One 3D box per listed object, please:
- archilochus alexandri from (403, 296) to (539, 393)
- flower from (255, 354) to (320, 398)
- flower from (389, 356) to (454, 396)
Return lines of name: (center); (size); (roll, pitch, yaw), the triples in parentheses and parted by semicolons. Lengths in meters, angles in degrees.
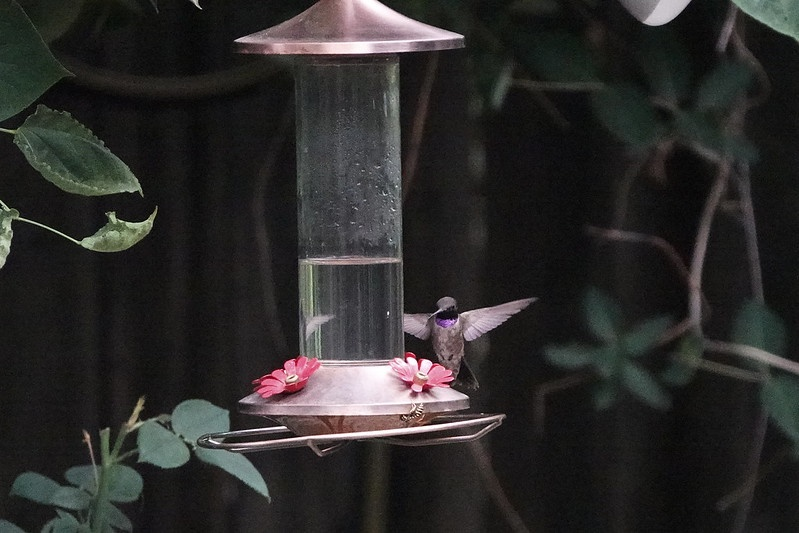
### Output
archilochus alexandri: (0.115, 0.187, 3.187); (0.400, 0.172, 0.249); (2, -18, -1)
flower: (-0.241, 0.239, 2.674); (0.095, 0.097, 0.034); (-13, -69, 44)
flower: (0.047, 0.225, 2.679); (0.121, 0.033, 0.123); (-5, -30, 32)
